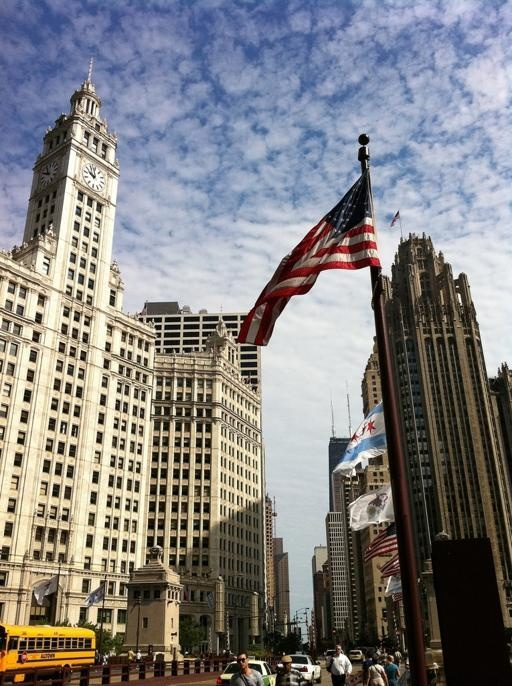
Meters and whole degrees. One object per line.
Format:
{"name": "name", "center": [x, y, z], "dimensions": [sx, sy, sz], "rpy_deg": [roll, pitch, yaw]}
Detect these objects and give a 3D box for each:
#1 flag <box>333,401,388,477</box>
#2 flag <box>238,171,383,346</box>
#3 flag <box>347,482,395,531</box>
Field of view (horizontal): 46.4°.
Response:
{"name": "flag", "center": [3.563, 3.143, 20.014], "dimensions": [1.449, 2.719, 1.968], "rpy_deg": [-5, -26, 9]}
{"name": "flag", "center": [1.362, -1.633, 11.324], "dimensions": [3.483, 3.928, 0.325], "rpy_deg": [-7, -22, 40]}
{"name": "flag", "center": [4.002, 5.655, 20.833], "dimensions": [1.427, 1.504, 1.259], "rpy_deg": [-4, -26, 6]}
